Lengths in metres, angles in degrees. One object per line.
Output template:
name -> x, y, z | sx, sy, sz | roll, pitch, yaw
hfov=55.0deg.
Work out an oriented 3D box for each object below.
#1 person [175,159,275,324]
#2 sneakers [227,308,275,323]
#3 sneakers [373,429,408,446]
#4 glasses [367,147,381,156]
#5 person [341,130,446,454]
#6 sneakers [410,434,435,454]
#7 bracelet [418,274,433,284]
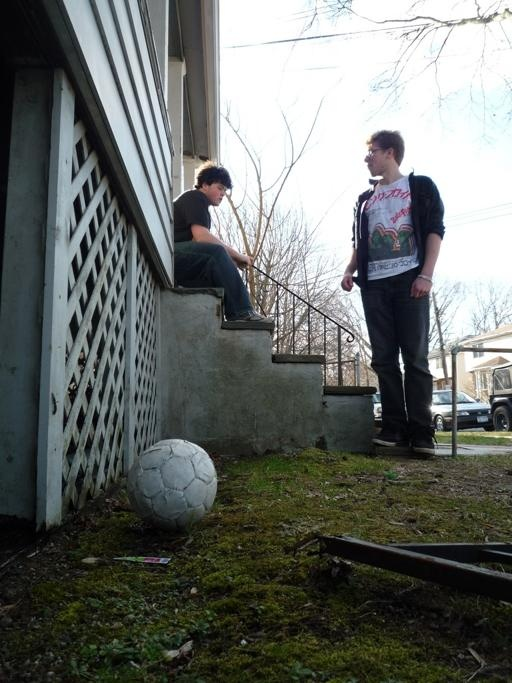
person -> -0.388, -0.960, 4.566 | 0.866, 1.706, 0.664 | 0, -5, 9
sneakers -> -0.046, -0.200, 4.354 | 0.394, 0.176, 0.150 | -2, -7, 17
sneakers -> 1.130, 0.802, 4.039 | 0.296, 0.149, 0.112 | 13, -10, -10
glasses -> 0.976, -1.555, 4.082 | 0.057, 0.078, 0.066 | -6, 3, 3
person -> 1.161, -0.413, 4.020 | 0.402, 2.622, 0.814 | 5, -6, -41
sneakers -> 1.341, 0.842, 3.921 | 0.182, 0.151, 0.136 | 0, -5, 10
bracelet -> 1.313, -0.472, 3.801 | 0.096, 0.070, 0.141 | -1, -5, 19
